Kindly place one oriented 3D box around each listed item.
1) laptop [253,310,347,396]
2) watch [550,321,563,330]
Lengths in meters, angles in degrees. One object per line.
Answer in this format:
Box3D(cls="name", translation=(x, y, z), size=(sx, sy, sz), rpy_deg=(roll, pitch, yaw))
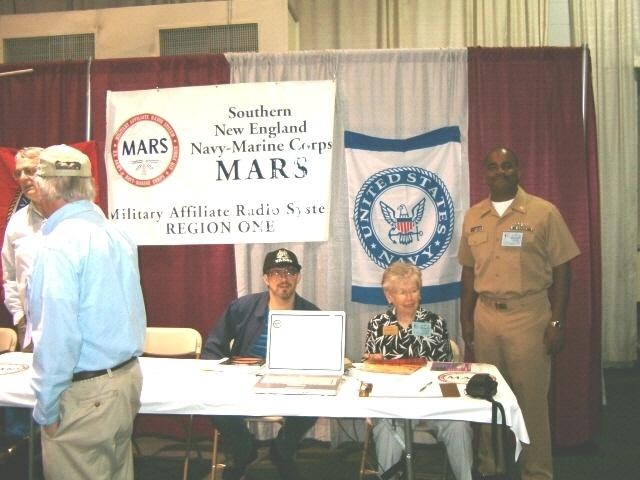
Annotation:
Box3D(cls="laptop", translation=(-0.104, 0.732, 7.014), size=(0.514, 0.465, 0.505), rpy_deg=(1, 5, 8))
Box3D(cls="watch", translation=(1.667, 0.605, 7.414), size=(0.049, 0.062, 0.078), rpy_deg=(-6, -10, 27))
